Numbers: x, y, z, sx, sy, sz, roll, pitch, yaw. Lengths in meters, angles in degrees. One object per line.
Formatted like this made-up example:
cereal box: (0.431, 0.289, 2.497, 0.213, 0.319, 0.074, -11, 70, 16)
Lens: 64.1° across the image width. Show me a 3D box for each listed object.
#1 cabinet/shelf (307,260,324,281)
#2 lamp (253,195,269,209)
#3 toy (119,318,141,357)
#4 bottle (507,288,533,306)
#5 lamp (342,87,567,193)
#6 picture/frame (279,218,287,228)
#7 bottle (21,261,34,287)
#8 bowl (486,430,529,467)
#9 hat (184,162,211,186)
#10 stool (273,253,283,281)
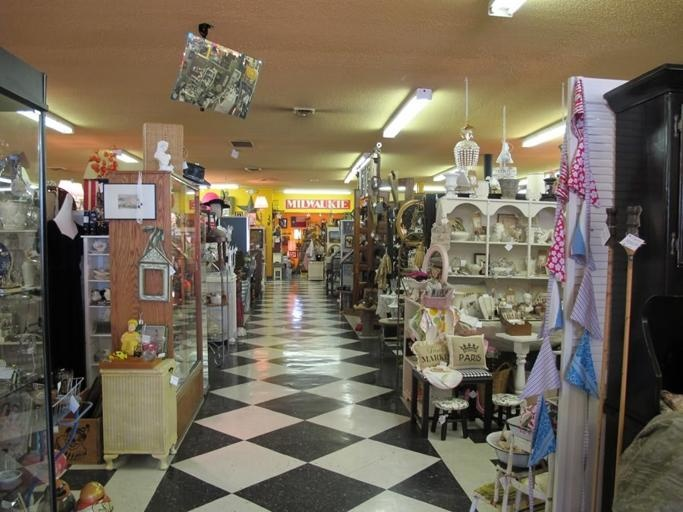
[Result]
cabinet/shelf: (-0.909, 0.552, 19.670, 0.635, 0.856, 0.611, 2, 9, 2)
lamp: (-2.613, -1.723, 17.731, 0.480, 0.447, 0.477, -1, 6, -9)
toy: (-1.730, 0.665, 4.467, 0.162, 0.263, 0.213, -2, 7, -22)
bottle: (2.065, 0.468, 6.428, 0.285, 0.271, 0.169, -4, 12, 0)
lamp: (1.760, -1.854, 8.583, 1.675, 0.849, 2.384, 1, -2, 0)
picture/frame: (-2.363, -1.307, 22.097, 0.296, 0.393, 0.412, 0, 10, -3)
bottle: (-1.675, 0.094, 2.917, 0.069, 0.149, 0.047, -2, 6, -22)
bowl: (1.185, 1.323, 3.817, 0.339, 0.108, 0.335, -8, -29, -4)
hat: (-1.557, -0.850, 5.757, 0.187, 0.177, 0.537, 0, 1, 7)
stool: (-2.348, 0.409, 19.860, 0.291, 0.835, 0.900, -1, 6, -1)
